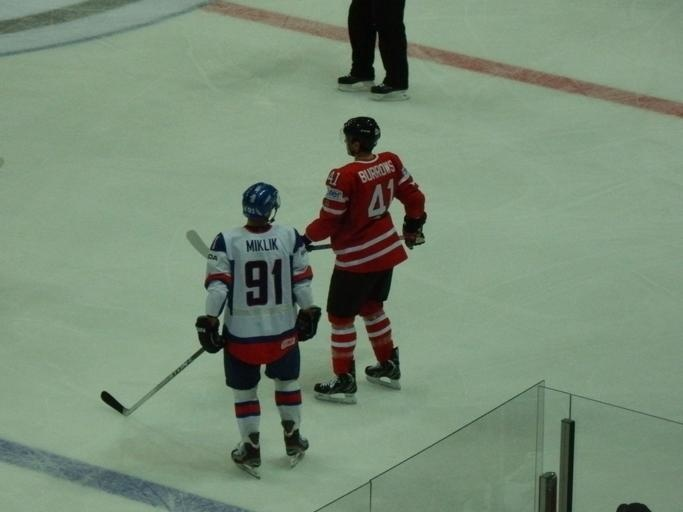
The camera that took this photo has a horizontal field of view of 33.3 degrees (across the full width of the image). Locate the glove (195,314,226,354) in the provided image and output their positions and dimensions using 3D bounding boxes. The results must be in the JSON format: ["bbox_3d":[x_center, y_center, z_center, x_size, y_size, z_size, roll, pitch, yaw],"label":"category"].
[{"bbox_3d":[-0.799,0.471,6.962,0.198,0.276,0.116,-16,22,-39],"label":"glove"}]

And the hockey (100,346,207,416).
[{"bbox_3d":[-1.211,0.846,7.427,0.583,0.148,0.546,-37,4,-10],"label":"hockey"}]

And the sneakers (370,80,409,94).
[{"bbox_3d":[0.407,-1.516,10.075,0.349,0.126,0.117,3,8,-16],"label":"sneakers"}]

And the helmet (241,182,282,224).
[{"bbox_3d":[-0.498,-0.323,7.032,0.217,0.274,0.257,-3,16,-4],"label":"helmet"}]

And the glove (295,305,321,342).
[{"bbox_3d":[-0.207,0.415,7.169,0.160,0.195,0.223,4,1,21],"label":"glove"}]

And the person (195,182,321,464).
[{"bbox_3d":[-0.511,0.437,7.005,0.473,1.733,0.605,11,21,35],"label":"person"}]

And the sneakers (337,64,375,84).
[{"bbox_3d":[0.163,-1.649,10.244,0.423,0.158,0.131,0,8,-7],"label":"sneakers"}]
